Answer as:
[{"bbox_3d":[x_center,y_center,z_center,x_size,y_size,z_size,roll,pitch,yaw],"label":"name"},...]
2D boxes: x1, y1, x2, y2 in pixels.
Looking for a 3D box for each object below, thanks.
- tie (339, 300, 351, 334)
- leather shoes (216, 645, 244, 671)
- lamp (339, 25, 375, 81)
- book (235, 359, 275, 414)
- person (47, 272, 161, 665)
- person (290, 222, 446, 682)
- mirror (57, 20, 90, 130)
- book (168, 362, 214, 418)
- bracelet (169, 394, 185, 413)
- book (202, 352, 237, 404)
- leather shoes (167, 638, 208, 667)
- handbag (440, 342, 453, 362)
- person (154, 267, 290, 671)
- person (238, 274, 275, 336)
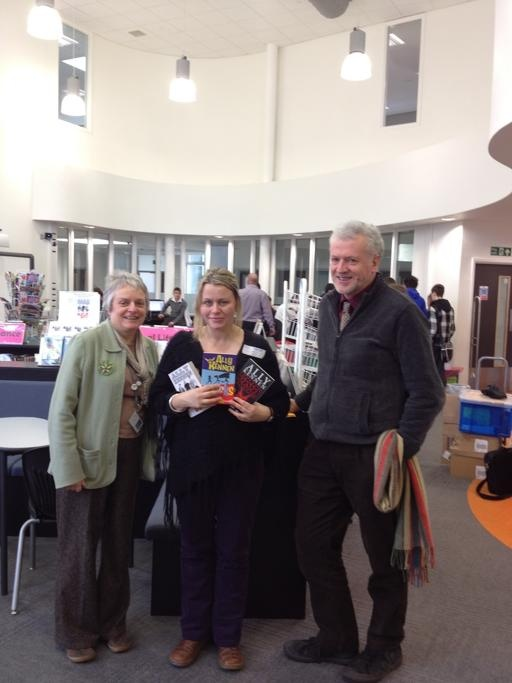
[{"bbox_3d":[0.298,-0.080,1.765,0.027,0.032,0.126,6,40,18],"label":"tie"},{"bbox_3d":[-0.090,1.091,1.848,0.091,0.078,0.157,2,-1,-3],"label":"leather shoes"},{"bbox_3d":[1.472,-4.203,7.677,0.416,0.874,0.376,1,-10,11],"label":"lamp"},{"bbox_3d":[-0.032,0.134,1.768,0.168,0.179,0.029,-31,39,-24],"label":"book"},{"bbox_3d":[-0.542,0.433,1.932,0.209,1.404,0.442,1,0,44],"label":"person"},{"bbox_3d":[0.344,0.380,1.753,0.517,1.395,0.264,2,0,20],"label":"person"},{"bbox_3d":[-3.733,-5.487,10.818,0.806,1.700,0.391,6,21,2],"label":"mirror"},{"bbox_3d":[-0.218,0.165,1.786,0.157,0.162,0.037,-15,-8,37],"label":"book"},{"bbox_3d":[-0.264,0.208,1.770,0.023,0.061,0.050,-7,-6,20],"label":"bracelet"},{"bbox_3d":[-0.122,0.127,1.734,0.136,0.194,0.021,5,-9,-3],"label":"book"},{"bbox_3d":[-0.252,1.068,1.814,0.046,0.056,0.131,3,-16,15],"label":"leather shoes"},{"bbox_3d":[2.515,0.142,6.988,0.133,0.255,0.257,0,3,18],"label":"handbag"},{"bbox_3d":[-0.145,0.445,1.844,0.501,1.351,0.303,2,0,4],"label":"person"},{"bbox_3d":[-0.050,-0.284,7.405,0.528,1.267,0.359,6,16,8],"label":"person"}]
